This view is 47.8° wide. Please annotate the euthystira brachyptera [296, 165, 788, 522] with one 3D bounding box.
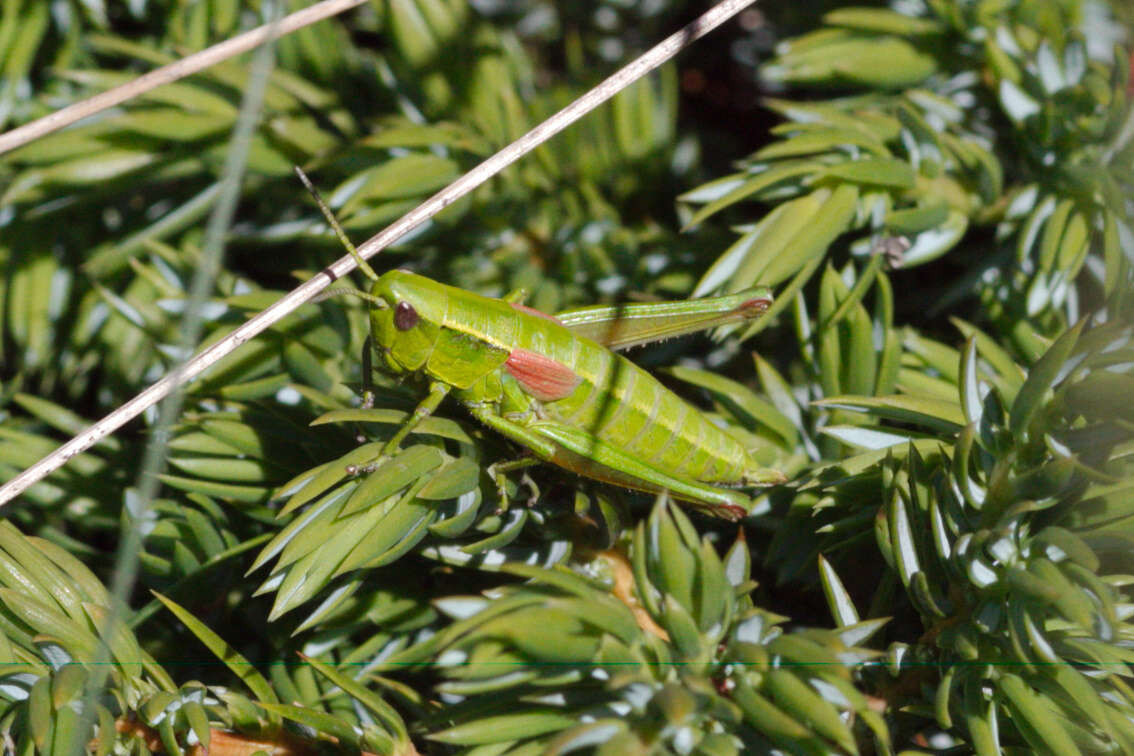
[{"bbox_3d":[-0.013,-0.008,1.262,0.489,0.179,0.248,21,49,-4],"label":"euthystira brachyptera"}]
